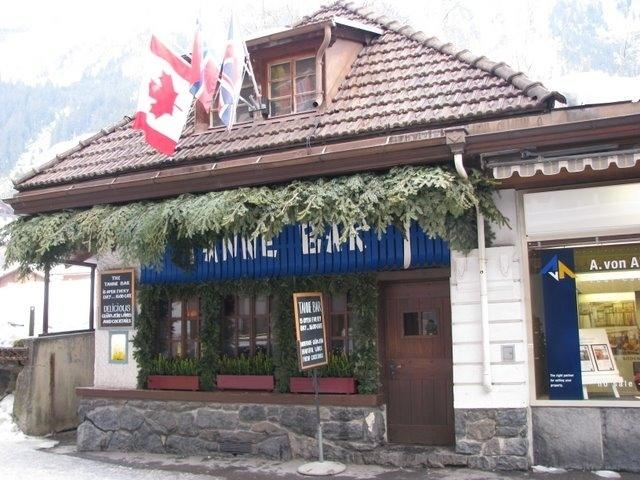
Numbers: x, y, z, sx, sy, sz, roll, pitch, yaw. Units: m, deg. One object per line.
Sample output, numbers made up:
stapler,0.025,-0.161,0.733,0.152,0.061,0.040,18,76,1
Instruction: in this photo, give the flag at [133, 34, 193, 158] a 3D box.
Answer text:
flag,-2.877,-2.619,11.016,0.352,2.128,1.077,-12,-15,40

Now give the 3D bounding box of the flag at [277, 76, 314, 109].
flag,-0.446,-2.919,11.774,0.669,0.784,0.096,0,-9,26
